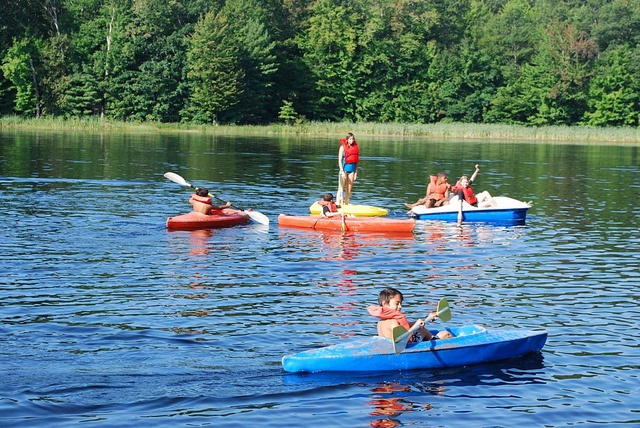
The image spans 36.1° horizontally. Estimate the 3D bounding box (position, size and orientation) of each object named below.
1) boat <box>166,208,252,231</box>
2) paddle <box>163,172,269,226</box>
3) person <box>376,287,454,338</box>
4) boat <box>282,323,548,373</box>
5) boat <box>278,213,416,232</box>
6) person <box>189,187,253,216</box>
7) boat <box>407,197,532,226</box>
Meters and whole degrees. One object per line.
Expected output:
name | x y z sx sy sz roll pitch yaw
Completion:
boat | -3.423 0.183 29.873 2.347 0.347 0.771 -5 18 -29
paddle | -3.494 -0.456 32.798 4.293 0.493 0.311 26 -31 -4
person | 1.940 2.312 22.335 1.420 0.762 1.550 0 12 -5
boat | 2.135 3.149 22.405 4.712 0.631 0.941 -2 9 -9
boat | 0.749 0.268 30.148 4.803 0.510 1.109 1 10 7
person | -3.297 -0.325 30.290 1.200 0.517 0.868 19 -10 -39
boat | 4.656 -0.065 31.968 4.165 0.937 1.188 0 5 6
